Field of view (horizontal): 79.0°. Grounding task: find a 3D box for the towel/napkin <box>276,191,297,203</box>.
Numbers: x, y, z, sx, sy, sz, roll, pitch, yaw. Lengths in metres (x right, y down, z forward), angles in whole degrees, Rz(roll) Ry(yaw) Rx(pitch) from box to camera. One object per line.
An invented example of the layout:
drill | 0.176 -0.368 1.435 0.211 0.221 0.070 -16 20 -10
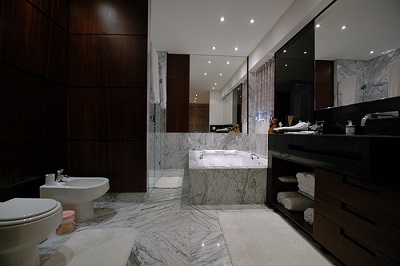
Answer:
towel/napkin | 1.219 0.878 3.439 0.189 0.085 0.180 3 -7 -37

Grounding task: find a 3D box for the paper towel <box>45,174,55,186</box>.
paper towel | -1.897 0.601 3.156 0.093 0.147 0.150 2 2 -1

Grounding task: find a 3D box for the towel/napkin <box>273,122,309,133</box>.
towel/napkin | 1.346 -0.077 3.605 0.493 0.133 0.223 -1 2 20

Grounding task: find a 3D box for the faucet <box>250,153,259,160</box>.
faucet | 1.018 0.451 4.498 0.124 0.097 0.301 -2 2 -3

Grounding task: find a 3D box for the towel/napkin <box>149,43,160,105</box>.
towel/napkin | -0.786 -0.994 4.195 0.143 0.941 0.641 -2 2 -9

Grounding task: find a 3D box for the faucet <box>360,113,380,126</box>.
faucet | 2.015 -0.152 2.871 0.133 0.202 0.111 4 4 29

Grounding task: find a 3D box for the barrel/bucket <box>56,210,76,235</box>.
barrel/bucket | -1.609 1.095 2.995 0.258 0.261 0.260 2 3 0

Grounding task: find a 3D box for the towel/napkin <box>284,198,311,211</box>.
towel/napkin | 1.312 0.962 3.254 0.242 0.095 0.250 1 1 1

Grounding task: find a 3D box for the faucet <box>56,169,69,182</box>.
faucet | -1.871 0.584 3.284 0.164 0.133 0.176 5 4 42
